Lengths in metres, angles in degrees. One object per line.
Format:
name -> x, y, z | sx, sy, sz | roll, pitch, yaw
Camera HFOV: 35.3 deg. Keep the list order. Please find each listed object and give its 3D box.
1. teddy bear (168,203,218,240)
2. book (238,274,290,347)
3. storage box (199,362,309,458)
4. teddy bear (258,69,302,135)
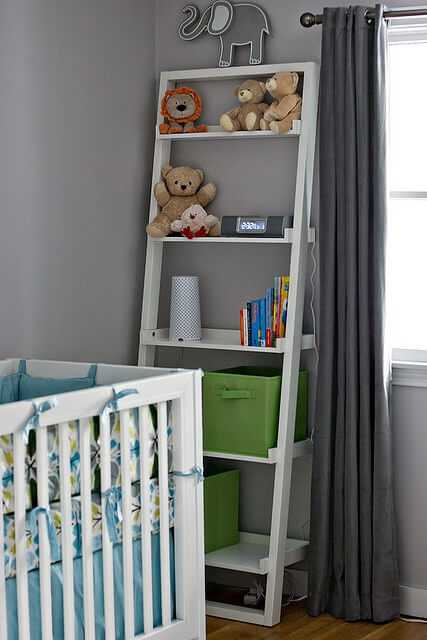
teddy bear -> -0.067, -0.353, 2.414 | 0.199, 0.152, 0.119 | -2, 3, -1
book -> 0.169, -0.029, 2.209 | 0.164, 0.229, 0.098 | 1, 2, 7
storage box -> 0.148, 0.299, 2.327 | 0.291, 0.291, 0.292 | 2, 4, 31
teddy bear -> 0.228, -0.725, 2.241 | 0.138, 0.218, 0.143 | 1, 2, 6
